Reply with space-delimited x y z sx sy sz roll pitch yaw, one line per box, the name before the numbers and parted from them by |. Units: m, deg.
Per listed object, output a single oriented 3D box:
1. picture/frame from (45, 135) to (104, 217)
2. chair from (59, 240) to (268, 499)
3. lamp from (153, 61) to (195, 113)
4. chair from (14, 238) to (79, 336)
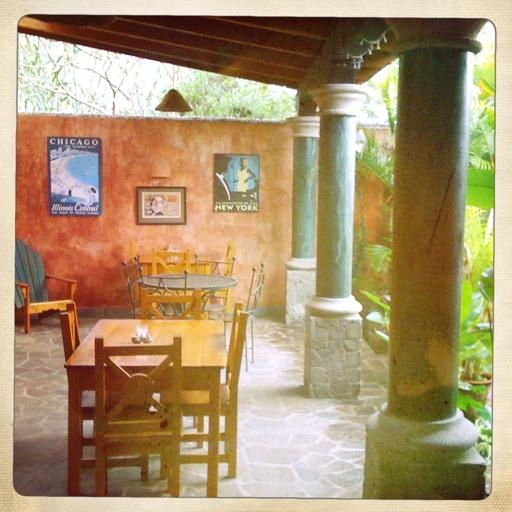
picture/frame | -1.980 -0.862 6.136 0.782 1.234 0.091 1 9 -8
chair | -0.535 0.810 3.091 0.984 1.069 1.045 -2 10 -22
lamp | -0.747 -1.591 5.373 0.377 0.712 0.425 0 8 -1
chair | -2.298 0.321 5.842 0.754 0.909 0.740 2 4 14
